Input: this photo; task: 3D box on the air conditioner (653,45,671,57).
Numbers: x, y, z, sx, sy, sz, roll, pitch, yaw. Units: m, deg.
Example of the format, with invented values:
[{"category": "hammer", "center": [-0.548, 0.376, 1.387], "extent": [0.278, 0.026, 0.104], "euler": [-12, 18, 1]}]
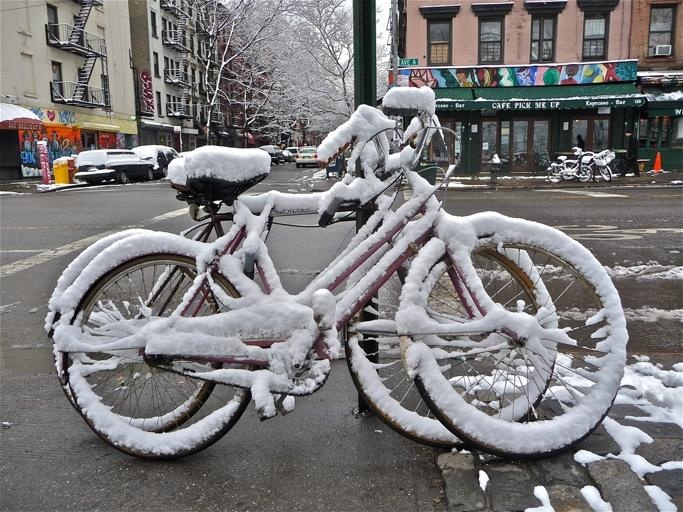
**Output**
[{"category": "air conditioner", "center": [13.469, -8.581, 26.868], "extent": [0.706, 0.531, 0.434], "euler": [1, 23, 6]}]
